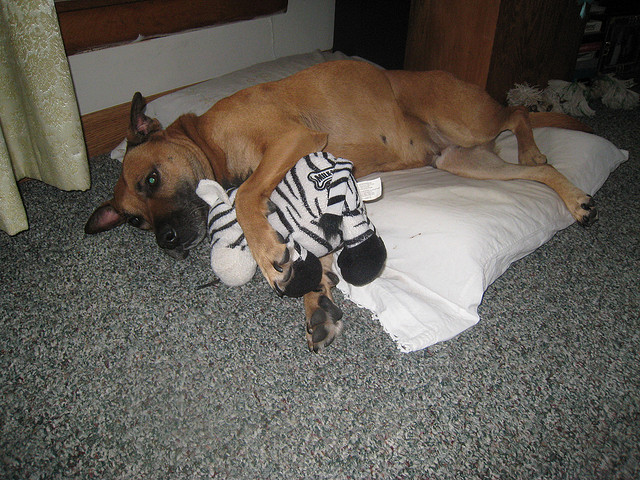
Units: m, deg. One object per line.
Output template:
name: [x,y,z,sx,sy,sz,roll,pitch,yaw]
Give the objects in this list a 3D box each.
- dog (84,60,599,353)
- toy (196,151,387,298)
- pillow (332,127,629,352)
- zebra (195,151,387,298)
dog: [0.088,-0.101,1.819,1.549,0.492,0.849,-22,68,-21]
toy: [-0.019,0.049,1.712,0.512,0.189,0.566,-18,81,-9]
pillow: [0.751,0.106,2.067,0.997,0.224,0.817,-31,55,-10]
zebra: [-0.035,-0.052,1.548,0.498,0.193,0.556,-14,68,-19]
